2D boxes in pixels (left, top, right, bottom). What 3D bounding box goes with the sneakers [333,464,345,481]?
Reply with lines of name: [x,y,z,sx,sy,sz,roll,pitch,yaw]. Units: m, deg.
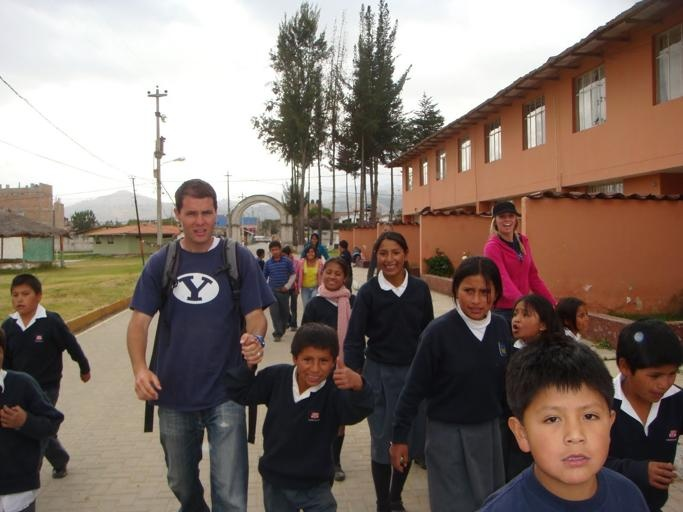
sneakers: [-0.018,2.133,5.286,0.096,0.143,0.311,-1,-13,-6]

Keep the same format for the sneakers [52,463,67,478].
sneakers: [-2.761,2.101,5.217,0.075,0.090,0.176,3,6,-4]
